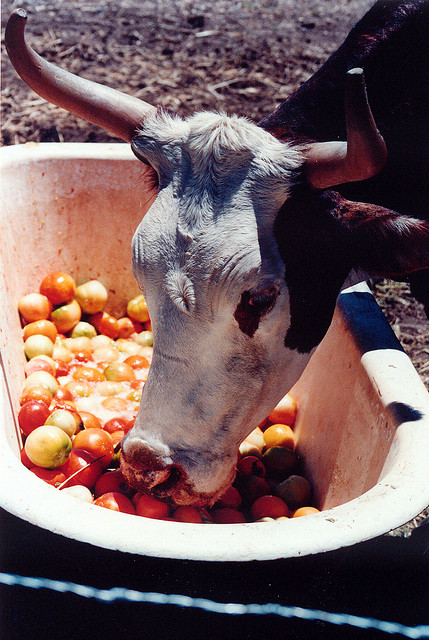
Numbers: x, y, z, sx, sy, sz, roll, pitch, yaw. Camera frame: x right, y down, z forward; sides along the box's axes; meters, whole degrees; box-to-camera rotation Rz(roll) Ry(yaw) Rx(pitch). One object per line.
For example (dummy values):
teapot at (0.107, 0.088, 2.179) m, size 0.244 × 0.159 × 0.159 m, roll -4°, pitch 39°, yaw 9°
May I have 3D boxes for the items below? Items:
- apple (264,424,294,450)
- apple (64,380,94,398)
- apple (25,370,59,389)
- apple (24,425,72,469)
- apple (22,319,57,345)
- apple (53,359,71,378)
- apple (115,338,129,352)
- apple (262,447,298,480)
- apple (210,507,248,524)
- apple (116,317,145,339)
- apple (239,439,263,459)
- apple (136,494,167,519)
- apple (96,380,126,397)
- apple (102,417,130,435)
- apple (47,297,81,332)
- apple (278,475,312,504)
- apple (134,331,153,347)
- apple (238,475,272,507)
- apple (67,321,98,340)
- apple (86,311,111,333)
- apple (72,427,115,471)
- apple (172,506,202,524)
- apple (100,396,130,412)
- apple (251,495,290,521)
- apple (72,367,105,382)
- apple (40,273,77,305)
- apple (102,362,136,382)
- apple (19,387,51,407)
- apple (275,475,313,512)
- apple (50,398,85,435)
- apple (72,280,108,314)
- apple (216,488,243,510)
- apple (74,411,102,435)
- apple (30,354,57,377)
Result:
apple at (0.257, 0.466, 3.167) m, size 0.124 × 0.075 × 0.157 m, roll 6°, pitch 23°, yaw -4°
apple at (-0.536, 0.271, 3.158) m, size 0.082 × 0.038 × 0.072 m, roll -3°, pitch 32°, yaw -21°
apple at (-0.655, 0.220, 2.993) m, size 0.085 × 0.082 × 0.078 m, roll -3°, pitch 1°, yaw -24°
apple at (-0.519, 0.400, 2.461) m, size 0.119 × 0.106 × 0.110 m, roll 8°, pitch 34°, yaw 36°
apple at (-0.743, 0.047, 3.379) m, size 0.111 × 0.095 × 0.101 m, roll 3°, pitch 20°, yaw 9°
apple at (-0.642, 0.202, 3.307) m, size 0.068 × 0.038 × 0.075 m, roll 1°, pitch 10°, yaw 1°
apple at (-0.436, 0.113, 3.665) m, size 0.061 × 0.061 × 0.054 m, roll -5°, pitch 25°, yaw -11°
apple at (0.246, 0.537, 2.975) m, size 0.134 × 0.112 × 0.118 m, roll 0°, pitch 1°, yaw 5°
apple at (0.038, 0.620, 2.507) m, size 0.099 × 0.047 × 0.078 m, roll 13°, pitch 0°, yaw -36°
apple at (-0.415, 0.039, 3.803) m, size 0.109 × 0.100 × 0.101 m, roll 33°, pitch 59°, yaw 3°
apple at (0.140, 0.488, 2.993) m, size 0.079 × 0.093 × 0.050 m, roll 0°, pitch 54°, yaw 32°
apple at (-0.185, 0.555, 2.375) m, size 0.073 × 0.067 × 0.064 m, roll 8°, pitch 49°, yaw 27°
apple at (-0.424, 0.279, 3.192) m, size 0.062 × 0.055 × 0.084 m, roll -9°, pitch -7°, yaw 44°
apple at (-0.368, 0.390, 2.932) m, size 0.073 × 0.060 × 0.063 m, roll -1°, pitch 3°, yaw 1°
apple at (-0.670, -0.022, 3.551) m, size 0.150 × 0.112 × 0.133 m, roll -28°, pitch 12°, yaw 1°
apple at (0.283, 0.599, 2.806) m, size 0.101 × 0.082 × 0.091 m, roll -2°, pitch -3°, yaw -3°
apple at (-0.328, 0.088, 3.758) m, size 0.084 × 0.079 × 0.074 m, roll 12°, pitch 53°, yaw -15°
apple at (0.134, 0.591, 2.737) m, size 0.103 × 0.102 × 0.095 m, roll -7°, pitch -7°, yaw 6°
apple at (-0.608, 0.050, 3.640) m, size 0.097 × 0.076 × 0.109 m, roll 7°, pitch 1°, yaw 40°
apple at (-0.557, 0.008, 3.801) m, size 0.112 × 0.091 × 0.101 m, roll 0°, pitch -3°, yaw 0°
apple at (-0.402, 0.412, 2.723) m, size 0.153 × 0.157 × 0.139 m, roll -10°, pitch 33°, yaw -10°
apple at (-0.080, 0.545, 2.276) m, size 0.062 × 0.053 × 0.075 m, roll -9°, pitch 2°, yaw -2°
apple at (-0.387, 0.331, 3.094) m, size 0.116 × 0.038 × 0.072 m, roll 4°, pitch 23°, yaw -7°
apple at (0.186, 0.609, 2.628) m, size 0.094 × 0.076 × 0.086 m, roll -5°, pitch 12°, yaw -5°
apple at (-0.517, 0.221, 3.289) m, size 0.091 × 0.042 × 0.068 m, roll 4°, pitch 8°, yaw -11°
apple at (-0.690, -0.139, 3.543) m, size 0.164 × 0.130 × 0.142 m, roll -1°, pitch 4°, yaw -2°
apple at (-0.406, 0.208, 3.325) m, size 0.112 × 0.074 × 0.074 m, roll 6°, pitch 27°, yaw -3°
apple at (-0.636, 0.267, 2.809) m, size 0.092 × 0.074 × 0.077 m, roll 1°, pitch 1°, yaw -4°
apple at (0.288, 0.607, 2.815) m, size 0.118 × 0.102 × 0.115 m, roll 2°, pitch 8°, yaw 29°
apple at (-0.510, 0.336, 2.784) m, size 0.098 × 0.110 × 0.067 m, roll 5°, pitch 23°, yaw 26°
apple at (-0.580, -0.110, 3.679) m, size 0.159 × 0.134 × 0.144 m, roll 5°, pitch 11°, yaw -16°
apple at (0.053, 0.600, 2.658) m, size 0.058 × 0.075 × 0.087 m, roll 21°, pitch 27°, yaw 26°
apple at (-0.455, 0.373, 2.870) m, size 0.081 × 0.081 × 0.073 m, roll 1°, pitch 14°, yaw 0°
apple at (-0.687, 0.186, 3.231) m, size 0.105 × 0.104 × 0.095 m, roll -7°, pitch 13°, yaw -3°
